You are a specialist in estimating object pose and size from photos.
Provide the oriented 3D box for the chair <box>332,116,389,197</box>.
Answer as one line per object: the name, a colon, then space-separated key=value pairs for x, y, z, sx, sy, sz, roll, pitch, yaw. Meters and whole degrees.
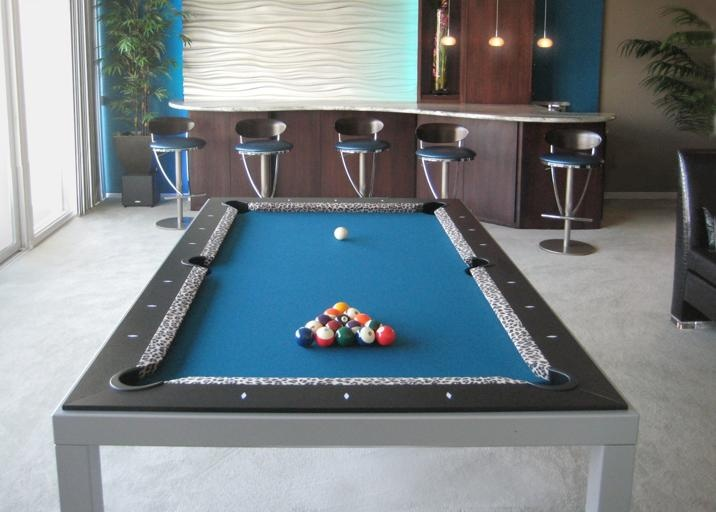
chair: x=0.044 y=-0.901 z=5.842 sx=0.637 sy=1.120 sz=0.565 roll=3 pitch=25 yaw=9

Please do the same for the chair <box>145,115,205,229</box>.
chair: x=-1.903 y=-0.884 z=5.649 sx=0.622 sy=1.117 sz=0.537 roll=-6 pitch=17 yaw=-33

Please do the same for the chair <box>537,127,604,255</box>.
chair: x=1.993 y=-0.561 z=5.184 sx=0.731 sy=1.282 sz=0.699 roll=3 pitch=20 yaw=5

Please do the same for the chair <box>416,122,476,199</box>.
chair: x=0.908 y=-0.984 z=5.659 sx=0.556 sy=0.836 sz=1.197 roll=-1 pitch=18 yaw=8

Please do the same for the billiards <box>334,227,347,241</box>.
billiards: x=-0.085 y=-0.108 z=2.671 sx=0.071 sy=0.062 sz=0.034 roll=0 pitch=6 yaw=-3
